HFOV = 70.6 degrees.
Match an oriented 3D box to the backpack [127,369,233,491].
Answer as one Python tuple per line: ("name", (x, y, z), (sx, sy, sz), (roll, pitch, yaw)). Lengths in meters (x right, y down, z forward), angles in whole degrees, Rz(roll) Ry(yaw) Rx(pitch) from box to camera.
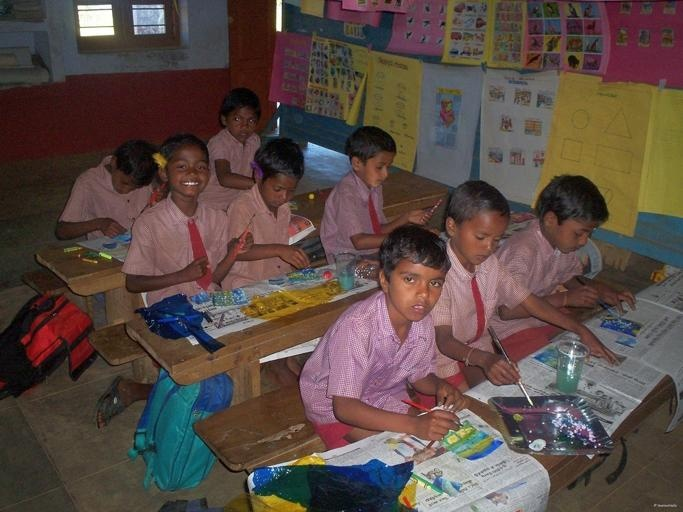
("backpack", (-0.802, 0.848, 2.377), (0.544, 0.645, 0.259), (-5, 22, -14))

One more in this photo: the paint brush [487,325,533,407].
("paint brush", (0.745, 0.486, 2.129), (0.025, 0.290, 0.038), (-31, -10, -48))

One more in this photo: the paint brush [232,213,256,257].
("paint brush", (-0.577, -0.126, 2.815), (0.124, 0.054, 0.378), (-35, -9, -33))

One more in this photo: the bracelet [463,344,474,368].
("bracelet", (0.557, 0.428, 2.119), (0.025, 0.079, 0.061), (7, -22, -1))

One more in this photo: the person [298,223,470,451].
("person", (0.167, 0.371, 1.801), (0.554, 0.895, 0.566), (-5, 22, -15))

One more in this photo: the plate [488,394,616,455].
("plate", (0.750, 0.603, 1.735), (0.388, 0.056, 0.280), (-1, 19, -5))
